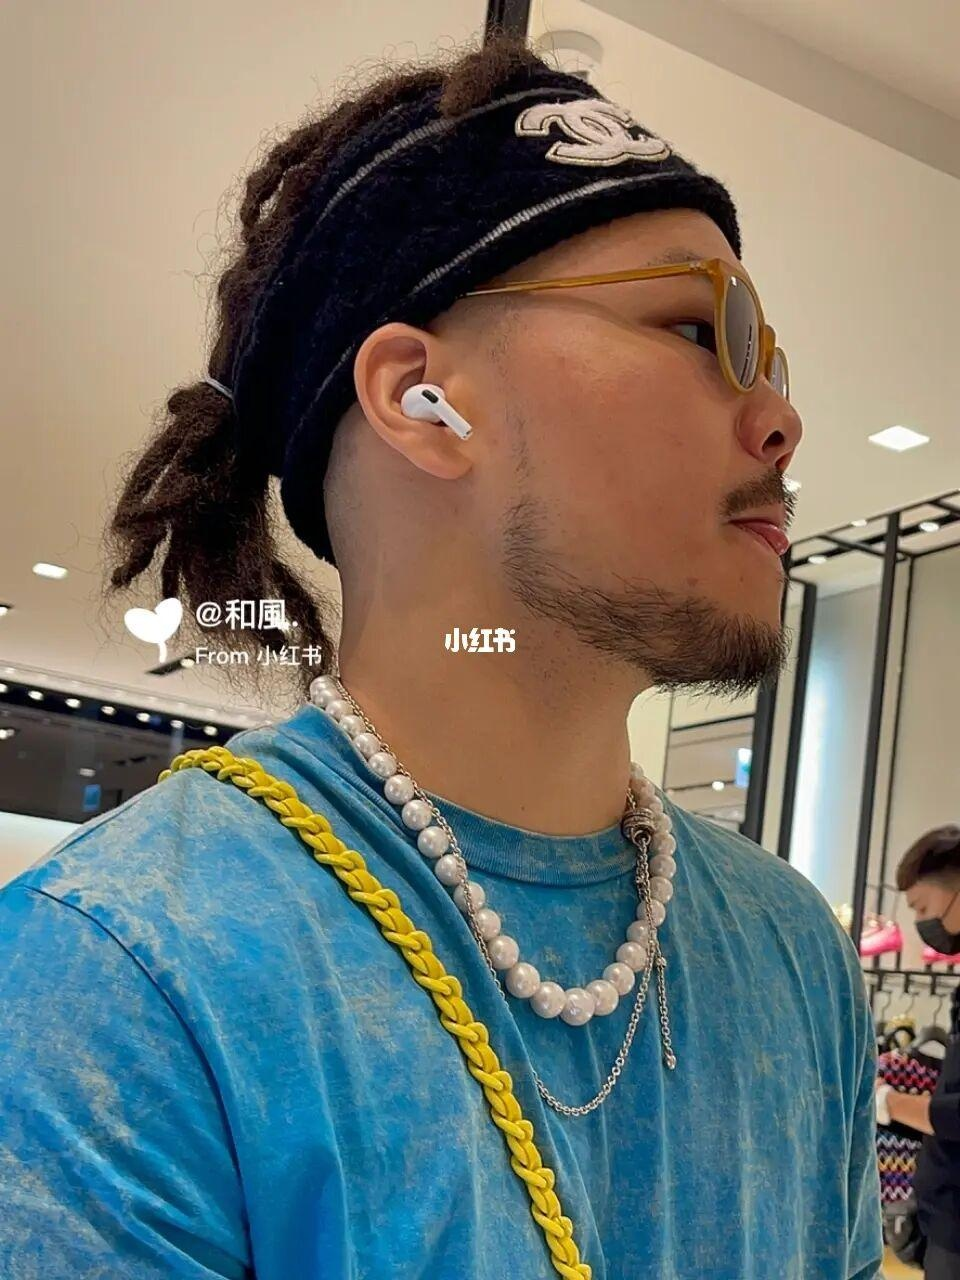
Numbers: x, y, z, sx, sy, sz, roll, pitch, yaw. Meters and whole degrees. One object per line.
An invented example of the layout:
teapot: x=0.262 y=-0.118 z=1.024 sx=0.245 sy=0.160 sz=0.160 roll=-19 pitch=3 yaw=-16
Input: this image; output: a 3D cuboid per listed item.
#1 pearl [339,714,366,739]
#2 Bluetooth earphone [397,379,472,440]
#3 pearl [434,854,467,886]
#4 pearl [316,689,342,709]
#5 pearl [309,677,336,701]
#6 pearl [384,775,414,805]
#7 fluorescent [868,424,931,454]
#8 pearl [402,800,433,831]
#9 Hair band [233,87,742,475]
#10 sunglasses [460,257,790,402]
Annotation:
pearl: x=-0.091 y=0.059 z=0.891 sx=0.017 sy=0.009 sz=0.016 roll=30 pitch=11 yaw=-2
Bluetooth earphone: x=-0.033 y=-0.174 z=0.939 sx=0.042 sy=0.024 sz=0.038 roll=34 pitch=-12 yaw=-18
pearl: x=-0.019 y=0.152 z=0.830 sx=0.021 sy=0.020 sz=0.011 roll=41 pitch=-34 yaw=-16
pearl: x=-0.113 y=0.040 z=0.923 sx=0.015 sy=0.007 sz=0.026 roll=19 pitch=16 yaw=-4
pearl: x=-0.120 y=0.033 z=0.930 sx=0.014 sy=0.009 sz=0.024 roll=4 pitch=20 yaw=-2
pearl: x=-0.055 y=0.101 z=0.849 sx=0.020 sy=0.021 sz=0.020 roll=5 pitch=-5 yaw=14
fluorescent: x=0.823 y=-0.403 z=2.459 sx=0.081 sy=0.044 sz=0.196 roll=4 pitch=0 yaw=37
pearl: x=-0.042 y=0.116 z=0.843 sx=0.021 sy=0.021 sz=0.019 roll=-2 pitch=1 yaw=5
Hair band: x=-0.018 y=-0.350 z=1.030 sx=0.354 sy=0.135 sz=0.287 roll=-31 pitch=-10 yaw=-14
sunglasses: x=0.146 y=-0.245 z=0.965 sx=0.163 sy=0.044 sz=0.156 roll=-4 pitch=-6 yaw=5
